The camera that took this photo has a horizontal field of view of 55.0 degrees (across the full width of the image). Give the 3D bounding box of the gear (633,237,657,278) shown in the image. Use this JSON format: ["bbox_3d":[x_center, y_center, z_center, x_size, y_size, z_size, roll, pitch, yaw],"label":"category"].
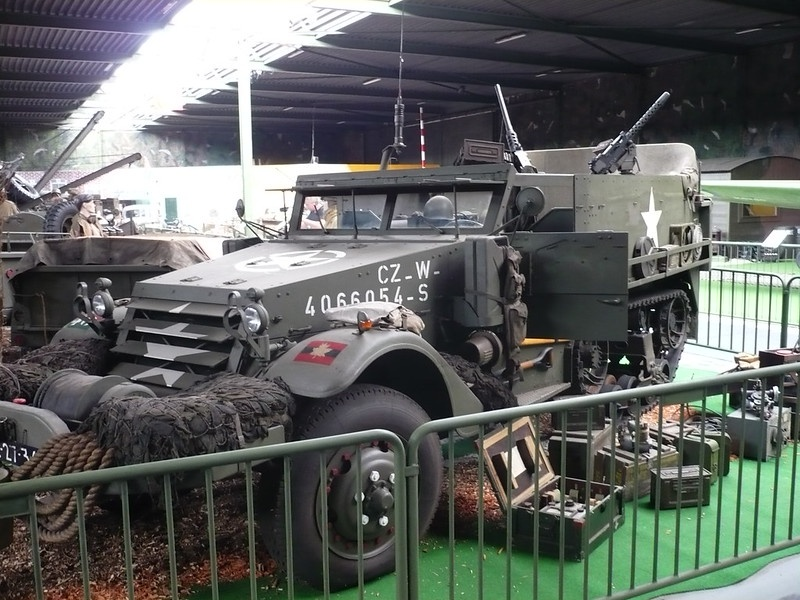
[{"bbox_3d":[2.315,-0.402,7.298,0.057,0.332,0.300,-5,9,38],"label":"gear"}]

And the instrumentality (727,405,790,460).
[{"bbox_3d":[2.794,1.045,6.011,0.454,0.461,0.655,-1,2,32],"label":"instrumentality"}]

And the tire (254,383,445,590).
[{"bbox_3d":[-0.342,1.109,4.524,0.995,1.133,0.477,12,-7,-36],"label":"tire"}]

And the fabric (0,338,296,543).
[{"bbox_3d":[-1.316,0.510,4.505,1.351,0.460,1.347,4,8,43],"label":"fabric"}]

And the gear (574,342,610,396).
[{"bbox_3d":[1.742,0.633,7.058,0.380,0.493,0.096,-9,7,-44],"label":"gear"}]

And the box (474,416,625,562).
[{"bbox_3d":[1.047,1.265,5.331,0.889,0.757,0.942,-5,2,17],"label":"box"}]

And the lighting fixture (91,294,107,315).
[{"bbox_3d":[-2.382,0.035,6.071,0.036,0.159,0.143,5,6,-43],"label":"lighting fixture"}]

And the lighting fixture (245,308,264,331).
[{"bbox_3d":[-0.979,0.134,5.134,0.036,0.152,0.121,-11,-3,-40],"label":"lighting fixture"}]
